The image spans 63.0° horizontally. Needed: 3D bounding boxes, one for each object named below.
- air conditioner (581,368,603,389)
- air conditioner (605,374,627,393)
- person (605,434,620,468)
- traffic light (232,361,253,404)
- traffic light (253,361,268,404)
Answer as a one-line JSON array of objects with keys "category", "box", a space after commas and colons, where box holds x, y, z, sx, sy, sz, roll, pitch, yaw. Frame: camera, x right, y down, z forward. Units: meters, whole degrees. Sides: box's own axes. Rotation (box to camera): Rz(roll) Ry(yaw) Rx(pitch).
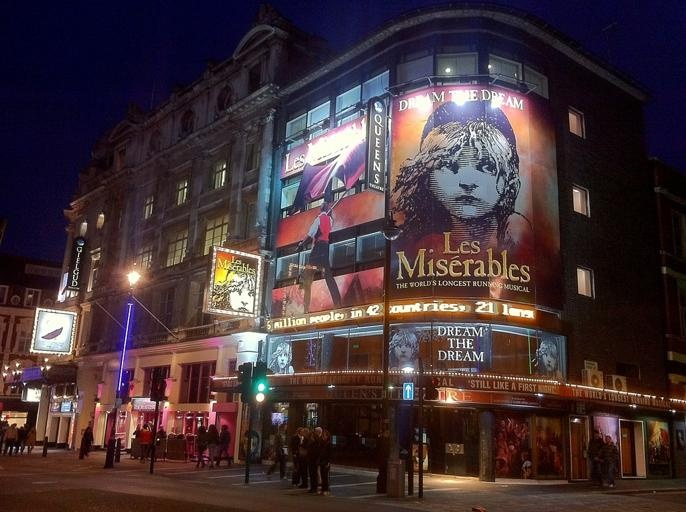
[{"category": "air conditioner", "box": [13.344, 6.719, 30.213, 0.811, 0.765, 0.280, 16, -22, -33]}, {"category": "air conditioner", "box": [15.160, 7.233, 31.256, 0.840, 0.763, 0.301, 10, -16, -29]}, {"category": "person", "box": [12.889, 9.425, 26.954, 0.443, 1.289, 0.887, -6, -21, 22]}, {"category": "traffic light", "box": [-3.936, 5.102, 22.470, 0.588, 1.618, 0.714, 12, -21, -28]}, {"category": "traffic light", "box": [-3.397, 5.136, 22.795, 0.584, 1.677, 1.152, 4, -19, -8]}]
